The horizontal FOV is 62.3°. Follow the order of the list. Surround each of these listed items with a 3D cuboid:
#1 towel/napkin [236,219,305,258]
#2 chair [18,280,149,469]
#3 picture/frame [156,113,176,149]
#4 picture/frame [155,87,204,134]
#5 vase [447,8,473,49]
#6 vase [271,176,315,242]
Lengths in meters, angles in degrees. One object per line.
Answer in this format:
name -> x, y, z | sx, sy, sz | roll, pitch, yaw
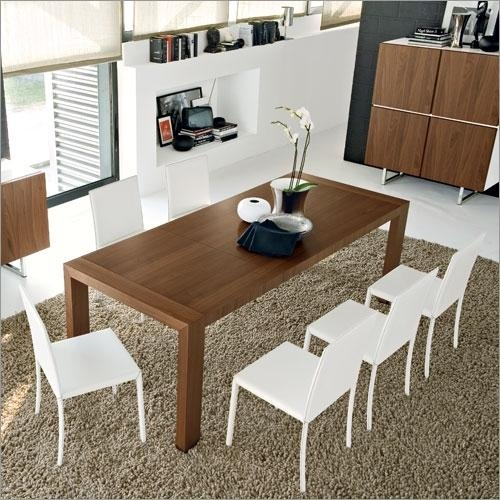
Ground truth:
towel/napkin -> 0.111, -0.055, 2.483 | 0.244, 0.103, 0.269 | 13, 32, 19
chair -> -0.813, 0.562, 2.097 | 0.478, 0.836, 0.463 | -5, 23, -30
picture/frame -> -1.089, -1.540, 5.305 | 0.039, 0.514, 0.432 | 18, 32, 31
picture/frame -> -0.938, -1.790, 5.347 | 0.045, 0.511, 0.709 | 24, 39, 33
vase -> 2.354, -2.510, 4.674 | 0.198, 0.416, 0.362 | 11, 27, 17
vase -> 0.240, -0.301, 2.686 | 0.310, 0.327, 0.327 | -10, 31, -17
